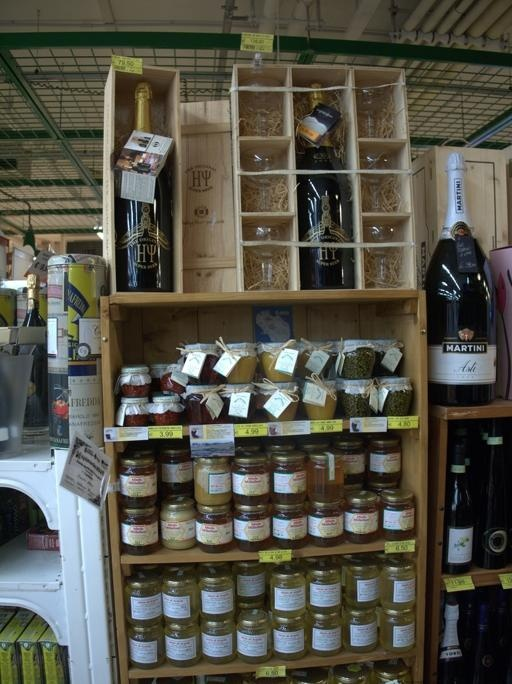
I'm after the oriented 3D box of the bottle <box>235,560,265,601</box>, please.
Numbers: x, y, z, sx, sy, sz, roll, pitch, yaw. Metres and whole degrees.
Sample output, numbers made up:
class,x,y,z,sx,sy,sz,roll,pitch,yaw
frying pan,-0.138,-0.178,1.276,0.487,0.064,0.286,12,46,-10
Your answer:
class,x,y,z,sx,sy,sz,roll,pitch,yaw
bottle,-0.015,0.749,1.889,0.113,0.115,0.109,0,-5,0

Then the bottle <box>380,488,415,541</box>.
class,x,y,z,sx,sy,sz,roll,pitch,yaw
bottle,0.434,0.529,1.881,0.140,0.140,0.135,0,0,-4

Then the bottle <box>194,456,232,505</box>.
class,x,y,z,sx,sy,sz,roll,pitch,yaw
bottle,-0.127,0.424,1.872,0.138,0.143,0.133,0,-4,-2

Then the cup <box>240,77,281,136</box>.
class,x,y,z,sx,sy,sz,roll,pitch,yaw
cup,0.016,-0.727,1.905,0.146,0.185,0.065,-1,-2,-3

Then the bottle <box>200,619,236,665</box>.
class,x,y,z,sx,sy,sz,roll,pitch,yaw
bottle,-0.110,0.884,1.822,0.120,0.130,0.121,0,-5,-4

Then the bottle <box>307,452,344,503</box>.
class,x,y,z,sx,sy,sz,roll,pitch,yaw
bottle,0.211,0.407,1.847,0.140,0.147,0.135,0,-4,-8

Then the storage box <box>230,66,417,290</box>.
class,x,y,z,sx,sy,sz,roll,pitch,yaw
storage box,0.206,-0.505,1.996,0.584,0.724,0.238,0,-7,-2

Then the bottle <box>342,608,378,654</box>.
class,x,y,z,sx,sy,sz,roll,pitch,yaw
bottle,0.319,0.876,1.867,0.124,0.126,0.119,0,-8,1

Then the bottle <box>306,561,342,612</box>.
class,x,y,z,sx,sy,sz,roll,pitch,yaw
bottle,0.207,0.742,1.851,0.122,0.127,0.117,1,-8,-10

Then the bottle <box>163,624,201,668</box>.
class,x,y,z,sx,sy,sz,roll,pitch,yaw
bottle,-0.216,0.896,1.797,0.120,0.121,0.116,0,-5,-3

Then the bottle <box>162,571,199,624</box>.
class,x,y,z,sx,sy,sz,roll,pitch,yaw
bottle,-0.232,0.757,1.828,0.127,0.128,0.123,3,-5,-27

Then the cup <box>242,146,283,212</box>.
class,x,y,z,sx,sy,sz,roll,pitch,yaw
cup,0.023,-0.496,1.910,0.151,0.201,0.071,-2,1,0

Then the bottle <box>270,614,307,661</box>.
class,x,y,z,sx,sy,sz,roll,pitch,yaw
bottle,0.094,0.878,1.833,0.125,0.123,0.120,0,-6,-2

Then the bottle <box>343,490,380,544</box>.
class,x,y,z,sx,sy,sz,roll,pitch,yaw
bottle,0.321,0.534,1.850,0.134,0.145,0.136,0,0,-2

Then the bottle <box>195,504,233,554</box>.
class,x,y,z,sx,sy,sz,roll,pitch,yaw
bottle,-0.122,0.548,1.790,0.133,0.135,0.128,0,-5,-7

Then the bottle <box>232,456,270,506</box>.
class,x,y,z,sx,sy,sz,roll,pitch,yaw
bottle,-0.012,0.404,1.799,0.138,0.140,0.133,0,-2,-2

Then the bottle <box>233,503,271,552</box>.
class,x,y,z,sx,sy,sz,roll,pitch,yaw
bottle,-0.011,0.541,1.804,0.135,0.135,0.130,0,-3,1
